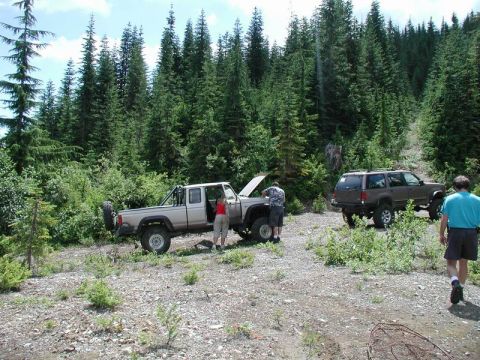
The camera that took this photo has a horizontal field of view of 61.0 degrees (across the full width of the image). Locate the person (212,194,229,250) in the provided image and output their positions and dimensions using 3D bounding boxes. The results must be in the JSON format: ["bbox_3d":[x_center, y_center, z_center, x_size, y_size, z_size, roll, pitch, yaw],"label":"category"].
[{"bbox_3d":[-0.788,1.636,16.188,0.677,2.128,0.494,-1,3,-3],"label":"person"}]
